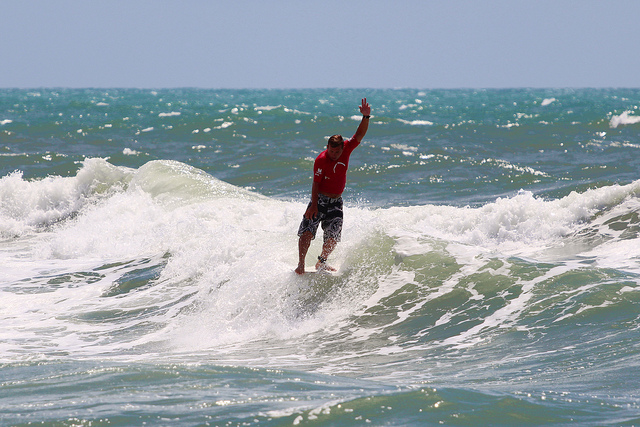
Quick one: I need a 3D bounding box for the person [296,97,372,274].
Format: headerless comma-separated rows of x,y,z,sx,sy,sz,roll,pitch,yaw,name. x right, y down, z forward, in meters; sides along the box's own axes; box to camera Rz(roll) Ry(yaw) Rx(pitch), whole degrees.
0.181,-0.365,11.296,0.745,2.416,0.827,5,0,-18,person
